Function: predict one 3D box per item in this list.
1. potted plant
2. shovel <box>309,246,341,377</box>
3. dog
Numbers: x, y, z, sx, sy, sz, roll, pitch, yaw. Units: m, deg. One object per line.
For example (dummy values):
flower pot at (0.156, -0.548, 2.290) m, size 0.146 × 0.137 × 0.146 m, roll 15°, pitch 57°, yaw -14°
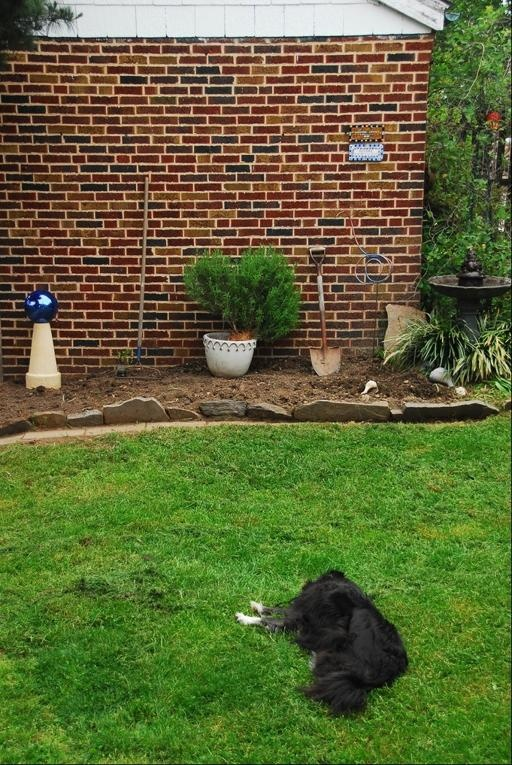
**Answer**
potted plant at (-0.109, -0.598, 6.848) m, size 0.977 × 1.026 × 0.666 m, roll -2°, pitch 14°, yaw 0°
shovel at (0.592, -0.618, 6.884) m, size 0.266 × 1.036 × 0.661 m, roll -1°, pitch 14°, yaw 4°
dog at (0.330, 0.798, 2.747) m, size 0.514 × 0.213 × 0.604 m, roll 1°, pitch 14°, yaw -27°
